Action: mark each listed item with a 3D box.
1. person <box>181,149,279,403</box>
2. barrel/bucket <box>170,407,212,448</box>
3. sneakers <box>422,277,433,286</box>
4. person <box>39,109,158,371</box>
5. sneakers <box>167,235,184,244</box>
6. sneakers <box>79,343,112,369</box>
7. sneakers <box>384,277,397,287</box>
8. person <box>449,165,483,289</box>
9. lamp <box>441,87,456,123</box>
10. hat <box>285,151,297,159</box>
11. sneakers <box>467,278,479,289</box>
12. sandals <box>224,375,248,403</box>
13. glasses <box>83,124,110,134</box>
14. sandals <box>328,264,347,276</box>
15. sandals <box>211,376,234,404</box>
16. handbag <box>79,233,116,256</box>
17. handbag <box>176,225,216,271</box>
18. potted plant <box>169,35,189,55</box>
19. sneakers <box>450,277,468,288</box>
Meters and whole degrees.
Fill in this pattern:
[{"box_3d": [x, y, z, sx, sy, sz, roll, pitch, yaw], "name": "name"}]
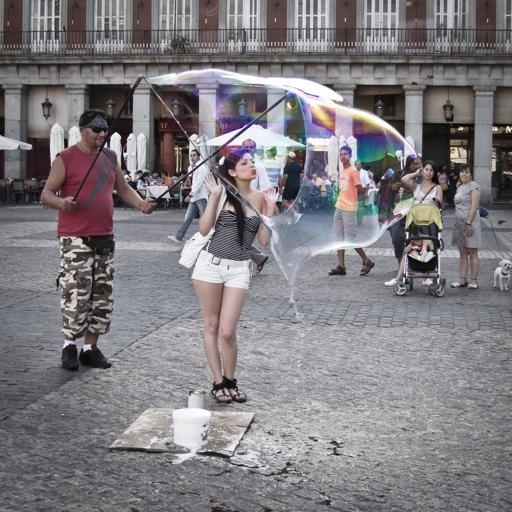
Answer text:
[{"box_3d": [-0.197, 0.136, 4.616, 0.622, 1.711, 0.412, 2, 5, 3], "name": "person"}, {"box_3d": [-0.358, 0.945, 3.743, 0.197, 0.177, 0.228, 1, 5, -6], "name": "barrel/bucket"}, {"box_3d": [2.656, 0.401, 10.498, 0.148, 0.167, 0.421, -2, 0, 4], "name": "sneakers"}, {"box_3d": [-1.280, -0.112, 5.279, 0.719, 2.031, 0.763, 1, 5, -7], "name": "person"}, {"box_3d": [-1.813, -0.388, 15.308, 0.193, 0.145, 0.440, -6, -20, 21], "name": "sneakers"}, {"box_3d": [-1.338, 0.815, 5.489, 0.352, 0.144, 0.119, 3, 6, 42], "name": "sneakers"}, {"box_3d": [2.068, 0.387, 10.246, 0.291, 0.114, 0.096, -7, 9, -34], "name": "sneakers"}, {"box_3d": [3.226, -0.464, 10.410, 0.412, 1.847, 0.813, 3, 5, 17], "name": "person"}, {"box_3d": [9.159, -7.268, 32.289, 0.511, 1.624, 1.071, 3, 5, 14], "name": "lamp"}, {"box_3d": [0.252, -0.719, 4.778, 0.055, 0.069, 0.073, -4, 5, -18], "name": "hat"}, {"box_3d": [3.276, 0.419, 10.253, 0.147, 0.157, 0.389, -1, -2, 23], "name": "sneakers"}, {"box_3d": [-0.126, 0.924, 4.654, 0.088, 0.099, 0.249, -8, 9, -33], "name": "sandals"}, {"box_3d": [-1.184, -0.963, 5.177, 0.084, 0.055, 0.232, 4, 6, 27], "name": "glasses"}, {"box_3d": [1.323, 0.246, 11.374, 0.369, 0.159, 0.118, -2, 3, -14], "name": "sandals"}, {"box_3d": [-0.234, 0.933, 4.610, 0.076, 0.084, 0.204, -3, 1, -16], "name": "sandals"}, {"box_3d": [-1.195, -0.091, 5.230, 0.178, 0.070, 0.159, 7, 12, 30], "name": "handbag"}, {"box_3d": [-0.462, -0.054, 4.628, 0.256, 0.287, 0.255, -3, 6, -40], "name": "handbag"}, {"box_3d": [-3.709, -10.387, 33.317, 1.127, 0.921, 0.948, -2, 14, -7], "name": "potted plant"}, {"box_3d": [3.090, 0.420, 10.329, 0.368, 0.131, 0.118, 1, -2, -29], "name": "sneakers"}]
